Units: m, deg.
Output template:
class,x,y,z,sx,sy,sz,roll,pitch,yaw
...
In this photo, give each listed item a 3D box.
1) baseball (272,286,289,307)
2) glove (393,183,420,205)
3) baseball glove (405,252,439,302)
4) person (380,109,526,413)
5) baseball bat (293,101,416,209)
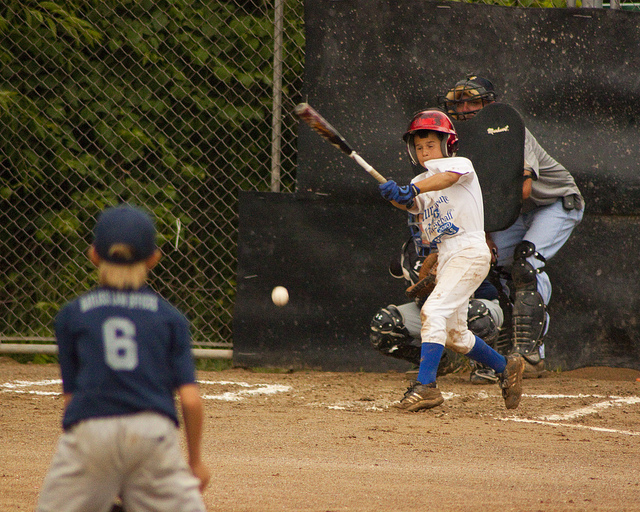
class,x,y,z,sx,sy,sz,roll,pitch,yaw
baseball,-0.267,0.274,9.741,0.111,0.146,0.117,-2,-9,-4
glove,0.545,-0.385,8.436,0.142,0.074,0.106,-22,42,-17
baseball glove,0.666,0.103,9.007,0.204,0.267,0.235,34,1,0
person,0.838,0.030,8.601,0.948,1.905,0.434,5,4,3
baseball bat,0.247,-0.706,9.591,0.113,0.138,1.121,-30,-61,34
